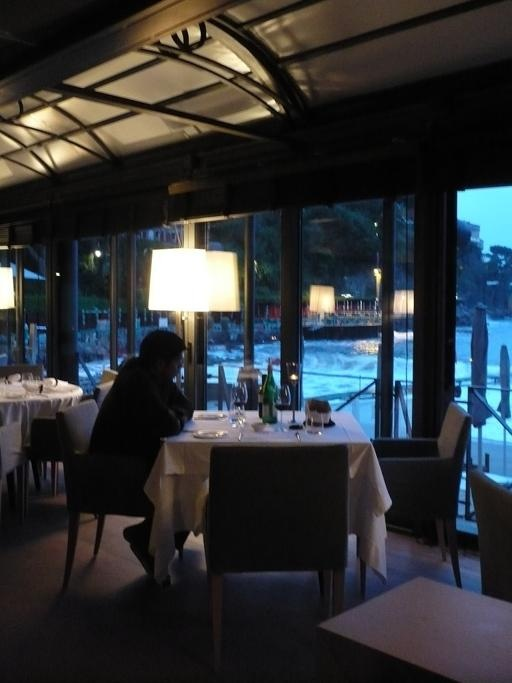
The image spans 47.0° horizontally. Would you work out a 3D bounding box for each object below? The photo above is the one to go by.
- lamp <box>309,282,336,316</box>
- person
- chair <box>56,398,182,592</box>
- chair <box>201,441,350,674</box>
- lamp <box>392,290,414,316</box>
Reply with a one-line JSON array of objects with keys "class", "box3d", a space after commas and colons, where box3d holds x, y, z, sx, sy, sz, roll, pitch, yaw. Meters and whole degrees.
[{"class": "lamp", "box3d": [0.480, -0.310, 4.312, 0.138, 0.328, 0.180, 0, 3, -19]}, {"class": "person", "box3d": [-0.538, 0.550, 3.051, 0.384, 1.232, 0.402, -1, 8, -13]}, {"class": "chair", "box3d": [-0.713, 0.722, 3.392, 0.485, 1.492, 0.677, 1, 1, 1]}, {"class": "chair", "box3d": [0.081, 0.729, 2.386, 0.472, 1.229, 0.637, 0, 1, 0]}, {"class": "lamp", "box3d": [0.935, -0.242, 3.763, 0.086, 0.218, 0.120, 2, 9, 5]}]
